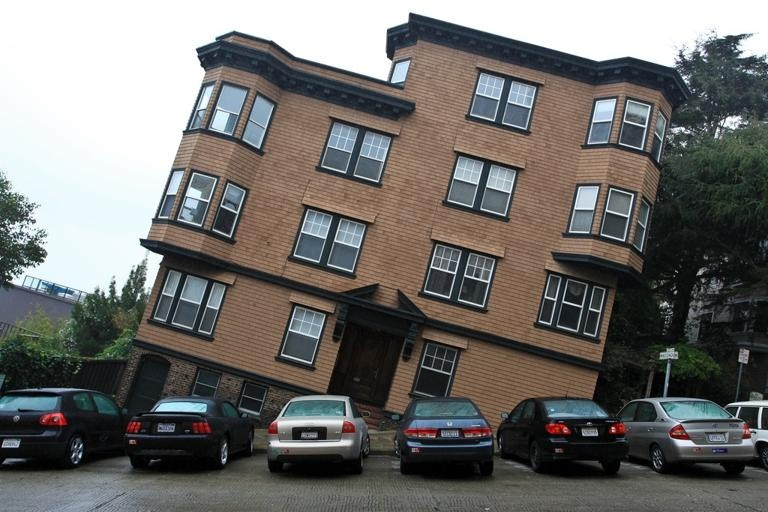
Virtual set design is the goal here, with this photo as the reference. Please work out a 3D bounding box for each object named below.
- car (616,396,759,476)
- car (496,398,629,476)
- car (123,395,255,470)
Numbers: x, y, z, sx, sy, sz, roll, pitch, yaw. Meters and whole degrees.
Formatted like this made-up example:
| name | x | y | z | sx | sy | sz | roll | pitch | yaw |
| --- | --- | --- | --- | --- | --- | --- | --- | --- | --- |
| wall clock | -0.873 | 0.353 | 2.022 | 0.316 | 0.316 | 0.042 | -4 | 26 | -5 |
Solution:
| name | x | y | z | sx | sy | sz | roll | pitch | yaw |
| --- | --- | --- | --- | --- | --- | --- | --- | --- | --- |
| car | 9.301 | 5.605 | 20.080 | 2.295 | 1.475 | 4.635 | 0 | -5 | -2 |
| car | 5.363 | 5.699 | 19.655 | 2.041 | 2.536 | 3.557 | 0 | 4 | -28 |
| car | -5.638 | 5.541 | 18.974 | 2.089 | 2.247 | 3.492 | 4 | 4 | 35 |
